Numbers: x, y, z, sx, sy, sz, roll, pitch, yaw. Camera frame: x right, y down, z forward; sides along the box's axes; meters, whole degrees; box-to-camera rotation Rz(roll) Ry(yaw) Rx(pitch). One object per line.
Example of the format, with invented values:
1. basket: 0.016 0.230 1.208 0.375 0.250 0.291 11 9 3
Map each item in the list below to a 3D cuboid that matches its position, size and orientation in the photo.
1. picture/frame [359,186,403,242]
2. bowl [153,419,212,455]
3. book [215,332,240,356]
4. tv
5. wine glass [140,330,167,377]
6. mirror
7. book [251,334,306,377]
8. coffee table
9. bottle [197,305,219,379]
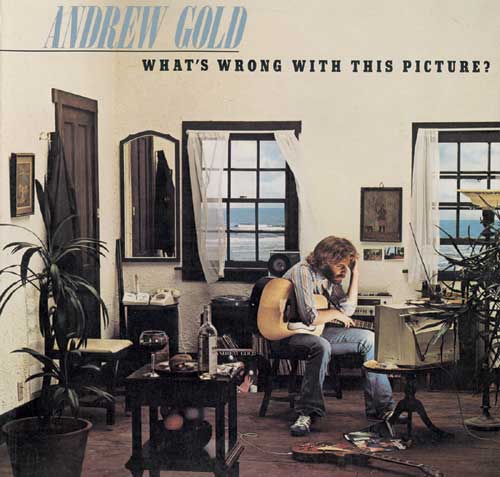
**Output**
1. picture/frame: 0.594 -0.101 3.471 0.190 0.299 0.014 0 -29 12
2. bowl: -0.265 0.797 3.019 0.149 0.100 0.154 2 -9 0
3. book: -0.106 0.499 3.546 0.099 0.081 0.032 37 -7 -3
4. tv: 0.738 0.418 3.384 0.294 0.293 0.215 -2 4 -34
5. wine glass: -0.374 0.456 3.050 0.101 0.171 0.160 0 0 6
6. mirror: -0.466 -0.180 3.578 0.246 0.621 0.020 -1 -8 -3
7. book: 0.128 0.525 3.548 0.194 0.267 0.180 1 -2 2
8. coffee table: 0.704 0.703 3.357 0.291 0.277 0.309 11 -19 -19
9. bottle: -0.162 0.395 2.947 0.072 0.270 0.076 0 0 0
